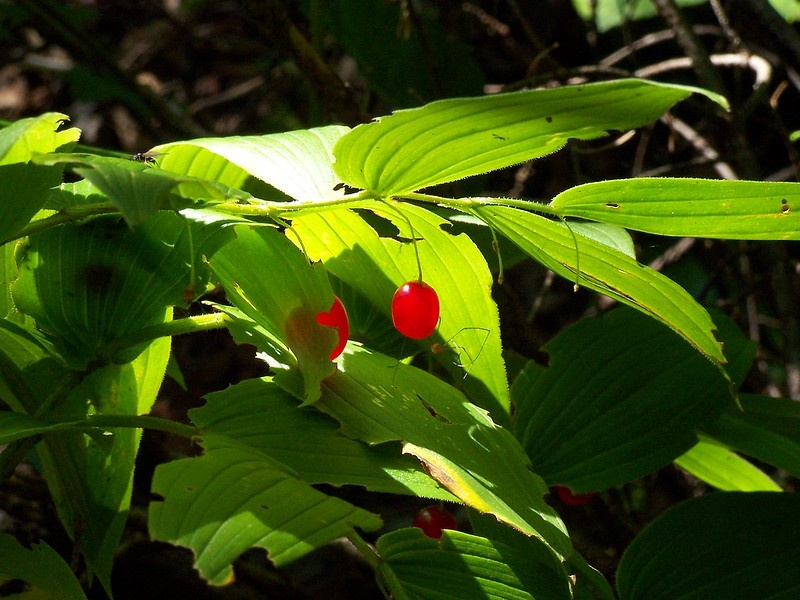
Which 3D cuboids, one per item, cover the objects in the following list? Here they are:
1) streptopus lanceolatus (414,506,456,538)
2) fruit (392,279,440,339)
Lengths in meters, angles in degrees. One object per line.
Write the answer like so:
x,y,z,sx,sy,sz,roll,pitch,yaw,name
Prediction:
0.058,0.376,1.448,0.049,0.069,0.051,18,29,14,streptopus lanceolatus
0.021,0.018,1.345,0.081,0.097,0.084,3,9,8,fruit
